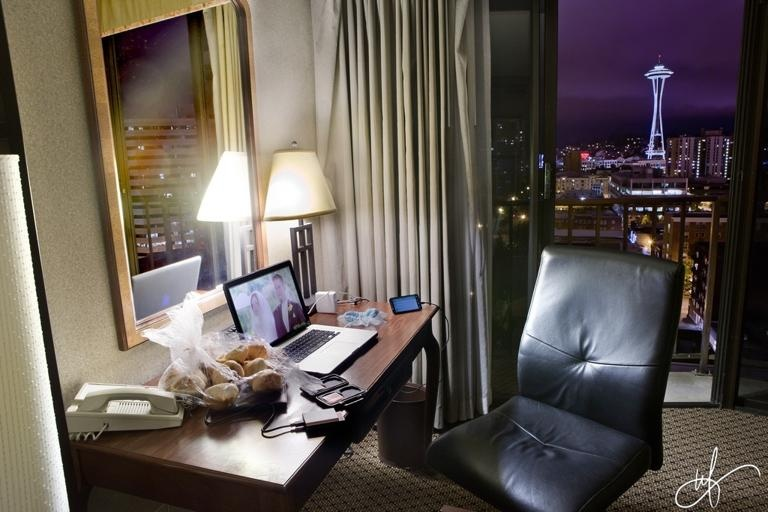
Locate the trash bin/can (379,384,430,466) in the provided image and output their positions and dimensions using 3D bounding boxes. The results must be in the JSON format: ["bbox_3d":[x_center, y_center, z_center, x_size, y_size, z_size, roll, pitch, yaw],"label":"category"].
[{"bbox_3d":[0.118,0.910,3.180,0.373,0.446,0.388,0,9,4],"label":"trash bin/can"}]

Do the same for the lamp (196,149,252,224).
[{"bbox_3d":[-0.763,-0.323,2.707,0.290,0.331,0.326,6,12,-9],"label":"lamp"}]

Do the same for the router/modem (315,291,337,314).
[{"bbox_3d":[-0.289,0.224,2.946,0.142,0.147,0.098,0,4,11],"label":"router/modem"}]

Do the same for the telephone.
[{"bbox_3d":[-0.964,0.552,2.048,0.251,0.086,0.223,1,9,-10],"label":"telephone"}]

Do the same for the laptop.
[{"bbox_3d":[-0.352,0.249,2.460,0.576,0.362,0.549,4,14,36],"label":"laptop"}]

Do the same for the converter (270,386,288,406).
[{"bbox_3d":[-0.397,0.537,2.121,0.053,0.013,0.055,5,19,8],"label":"converter"}]

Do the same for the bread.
[{"bbox_3d":[-0.608,0.464,2.111,0.293,0.110,0.281,2,7,-1],"label":"bread"}]
